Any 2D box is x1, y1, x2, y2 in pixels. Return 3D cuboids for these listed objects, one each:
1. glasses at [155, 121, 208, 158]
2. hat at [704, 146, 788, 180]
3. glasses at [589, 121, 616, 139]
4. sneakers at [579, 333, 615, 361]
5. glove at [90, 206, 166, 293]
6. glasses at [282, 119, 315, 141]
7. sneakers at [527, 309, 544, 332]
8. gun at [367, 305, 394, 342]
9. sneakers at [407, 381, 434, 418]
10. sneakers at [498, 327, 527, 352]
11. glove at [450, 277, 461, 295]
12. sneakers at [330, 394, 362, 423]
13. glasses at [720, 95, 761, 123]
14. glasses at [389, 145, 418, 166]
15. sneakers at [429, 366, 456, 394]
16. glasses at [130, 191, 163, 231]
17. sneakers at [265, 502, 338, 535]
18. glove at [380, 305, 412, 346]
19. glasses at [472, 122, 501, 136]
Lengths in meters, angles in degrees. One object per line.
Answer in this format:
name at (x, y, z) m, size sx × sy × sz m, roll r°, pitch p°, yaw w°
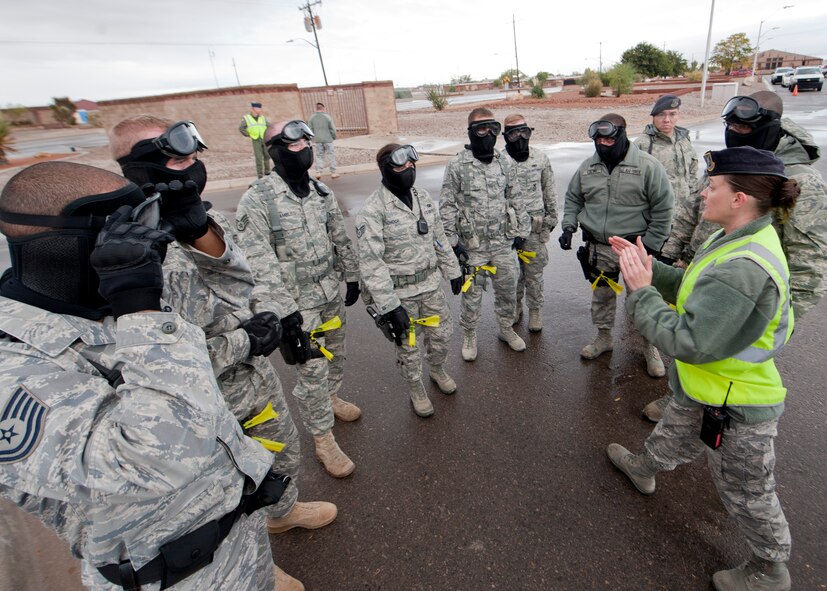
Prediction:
glasses at (-1.202, -0.798, 2.619) m, size 0.223 × 0.093 × 0.230 m, roll -16°, pitch 16°, yaw 13°
hat at (1.863, -0.717, 2.808) m, size 0.349 × 0.100 × 0.254 m, roll 3°, pitch 12°, yaw 20°
glasses at (1.723, -1.513, 4.624) m, size 0.165 × 0.147 × 0.297 m, roll -14°, pitch 20°, yaw -15°
sneakers at (1.837, 0.525, 5.011) m, size 0.246 × 0.215 × 0.105 m, roll -19°, pitch 45°, yaw 14°
glove at (-1.125, -0.167, 2.084) m, size 0.293 × 0.146 × 0.375 m, roll -4°, pitch 60°, yaw 2°
glasses at (-0.902, -1.260, 3.810) m, size 0.222 × 0.076 × 0.206 m, roll -13°, pitch 3°, yaw 25°
sneakers at (1.360, 0.252, 5.603) m, size 0.161 × 0.216 × 0.365 m, roll -3°, pitch 20°, yaw 14°
gun at (-0.303, 0.271, 4.591) m, size 0.116 × 0.449 × 0.107 m, roll -30°, pitch 24°, yaw 16°
sneakers at (0.081, 0.898, 4.415) m, size 0.153 × 0.231 × 0.396 m, roll -19°, pitch 14°, yaw -12°
sneakers at (1.033, 0.466, 5.226) m, size 0.150 × 0.220 × 0.342 m, roll -37°, pitch 36°, yaw -21°
glove at (0.407, -0.098, 4.833) m, size 0.092 × 0.100 × 0.142 m, roll -13°, pitch -13°, yaw 8°
sneakers at (-0.590, 0.982, 4.461) m, size 0.384 × 0.227 × 0.136 m, roll 4°, pitch 20°, yaw 30°
glasses at (2.611, -1.460, 3.934) m, size 0.313 × 0.134 × 0.234 m, roll 16°, pitch 5°, yaw -32°
glasses at (-0.103, -1.139, 4.129) m, size 0.192 × 0.100 × 0.230 m, roll -17°, pitch 7°, yaw -37°
sneakers at (0.261, 0.797, 4.686) m, size 0.108 × 0.188 × 0.280 m, roll -39°, pitch 45°, yaw -26°
glasses at (-1.167, -0.367, 2.162) m, size 0.062 × 0.110 × 0.164 m, roll -42°, pitch 63°, yaw 2°
sneakers at (-0.751, 1.497, 3.535) m, size 0.542 × 0.199 × 0.194 m, roll -4°, pitch 31°, yaw -11°
glove at (-0.145, 0.271, 4.150) m, size 0.268 × 0.382 × 0.173 m, roll -11°, pitch 22°, yaw -5°
glasses at (0.729, -1.620, 4.969) m, size 0.306 × 0.123 × 0.180 m, roll -9°, pitch 20°, yaw -5°
